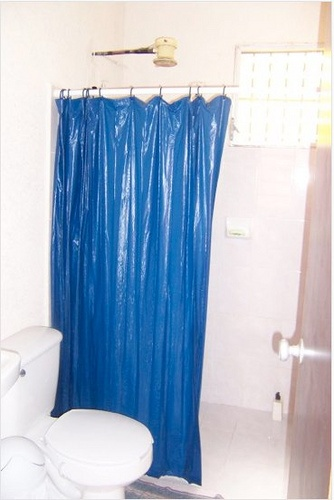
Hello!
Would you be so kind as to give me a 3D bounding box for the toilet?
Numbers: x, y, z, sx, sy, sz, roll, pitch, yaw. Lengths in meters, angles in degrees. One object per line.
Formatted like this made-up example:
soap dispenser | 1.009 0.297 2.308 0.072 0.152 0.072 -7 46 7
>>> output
toilet | -0.327 0.622 1.712 0.459 0.802 0.481 2 7 4
